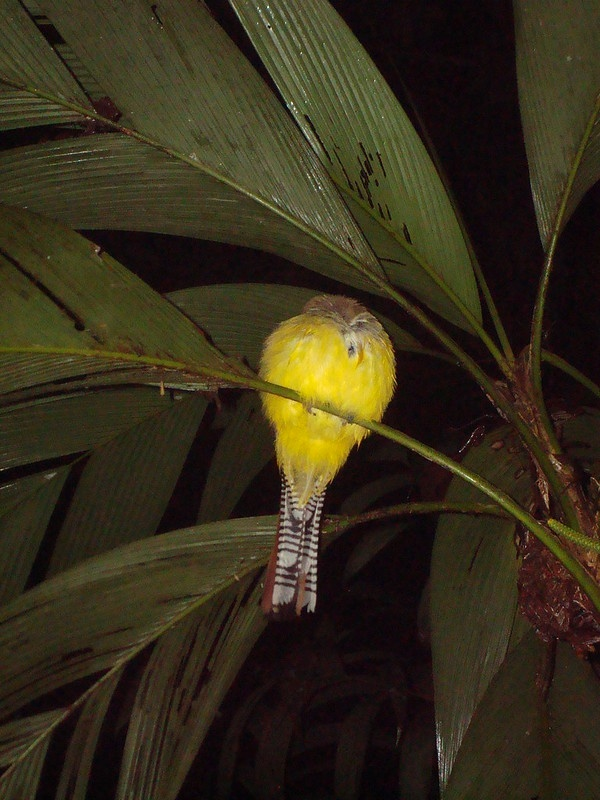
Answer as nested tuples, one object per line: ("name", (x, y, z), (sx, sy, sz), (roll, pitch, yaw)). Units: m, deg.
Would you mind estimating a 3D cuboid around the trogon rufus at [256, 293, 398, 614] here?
("trogon rufus", (0.087, 0.105, 3.112), (0.578, 1.290, 0.535), (13, -37, -20))
